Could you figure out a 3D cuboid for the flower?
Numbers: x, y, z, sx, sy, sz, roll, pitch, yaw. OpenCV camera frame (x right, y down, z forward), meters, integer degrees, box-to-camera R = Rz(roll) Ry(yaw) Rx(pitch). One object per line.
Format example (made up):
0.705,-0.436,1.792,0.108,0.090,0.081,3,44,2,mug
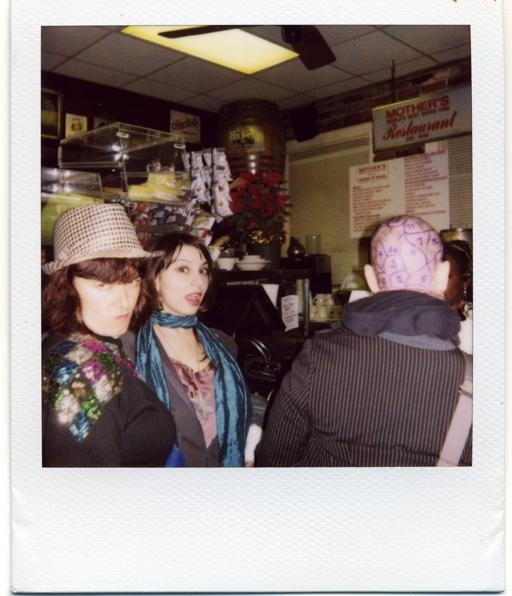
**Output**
0.005,-0.469,2.909,0.486,0.408,0.396,0,-18,-2,flower

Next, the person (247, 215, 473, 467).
0.315,0.168,1.574,0.649,0.809,0.247,1,11,17,person

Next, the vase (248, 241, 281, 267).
0.053,-0.236,2.731,0.158,0.095,0.144,3,-10,-14,vase

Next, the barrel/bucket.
-0.034,-1.051,3.519,0.380,0.453,0.360,-3,13,1,barrel/bucket

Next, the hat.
-0.567,-0.232,1.865,0.368,0.201,0.409,-3,3,-11,hat

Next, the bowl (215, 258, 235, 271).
-0.157,-0.163,2.593,0.080,0.046,0.076,1,1,0,bowl

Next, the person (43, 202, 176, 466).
-0.512,0.138,1.732,0.419,0.884,0.281,-4,10,-9,person
